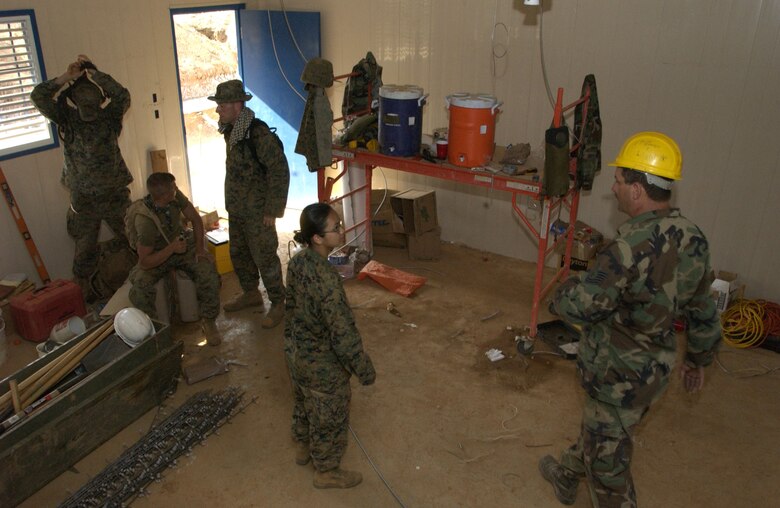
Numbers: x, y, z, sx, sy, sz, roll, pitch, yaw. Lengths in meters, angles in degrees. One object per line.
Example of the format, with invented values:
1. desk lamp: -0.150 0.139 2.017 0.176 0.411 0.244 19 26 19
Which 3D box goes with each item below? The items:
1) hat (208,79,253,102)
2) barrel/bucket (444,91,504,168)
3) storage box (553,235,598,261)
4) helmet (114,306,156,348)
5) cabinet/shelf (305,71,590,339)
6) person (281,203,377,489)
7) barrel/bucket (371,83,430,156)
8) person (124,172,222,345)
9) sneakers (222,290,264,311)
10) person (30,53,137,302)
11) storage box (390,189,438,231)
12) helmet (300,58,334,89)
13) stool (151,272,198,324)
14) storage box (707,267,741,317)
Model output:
1. hat: -1.773 -1.838 6.369 0.337 0.130 0.368 7 23 17
2. barrel/bucket: 0.963 -1.429 6.509 0.569 0.788 0.361 1 23 4
3. storage box: 2.446 -0.080 7.217 0.360 0.355 0.097 16 15 19
4. helmet: -2.484 0.712 5.408 0.363 0.278 0.317 -13 26 -27
5. cabinet/shelf: 0.745 -0.974 7.633 3.717 2.826 1.210 20 33 39
6. person: -0.550 0.878 4.785 0.620 2.533 0.686 -11 25 -23
7. barrel/bucket: 0.153 -1.690 7.121 0.762 0.810 0.826 -1 26 0
8. person: -2.553 0.039 6.489 0.982 1.958 0.776 -8 24 -18
9. sneakers: -1.867 0.612 7.256 0.572 0.255 0.211 -11 27 -23
10. person: -3.642 -0.878 6.896 0.976 2.950 0.669 -15 27 -30
11. storage box: 0.362 -0.620 8.254 0.693 0.530 0.714 -1 17 17
12. helmet: -0.891 -2.216 6.827 0.362 0.327 0.367 -3 23 -7
13. stool: -2.655 0.510 6.938 0.439 0.601 0.140 -8 18 -22
14. storage box: 3.745 0.456 6.181 0.301 0.452 0.454 23 64 27
